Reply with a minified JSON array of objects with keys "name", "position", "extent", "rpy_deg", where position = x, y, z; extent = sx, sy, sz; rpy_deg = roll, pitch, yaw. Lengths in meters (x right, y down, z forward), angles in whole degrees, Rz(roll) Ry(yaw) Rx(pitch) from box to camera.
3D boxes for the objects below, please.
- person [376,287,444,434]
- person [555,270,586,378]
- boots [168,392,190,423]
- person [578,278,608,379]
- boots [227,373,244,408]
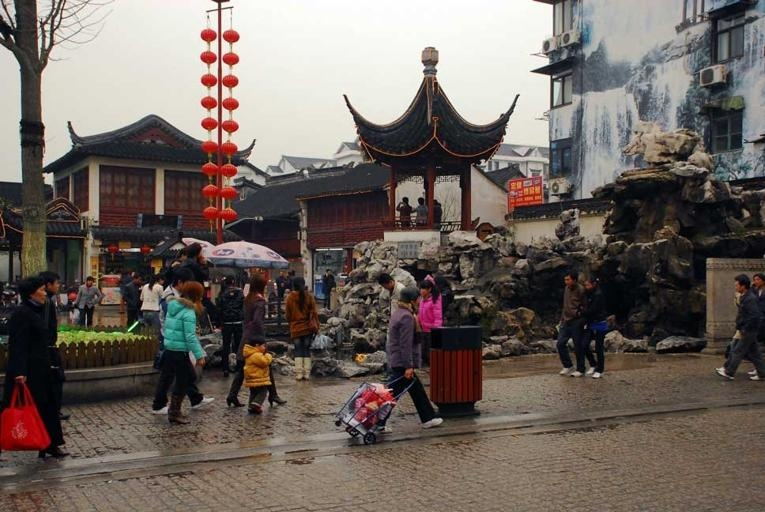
[{"name":"person","position":[0.600,2.355,23.060],"extent":[1.513,3.038,1.022],"rpy_deg":[0,0,-16]},{"name":"person","position":[5.091,1.852,26.658],"extent":[0.890,2.517,0.872],"rpy_deg":[0,0,-32]},{"name":"boots","position":[-4.620,3.459,22.770],"extent":[0.442,0.574,0.407],"rpy_deg":[-2,-1,-13]},{"name":"person","position":[5.497,1.903,26.322],"extent":[0.641,2.539,0.711],"rpy_deg":[1,-2,10]},{"name":"boots","position":[-3.481,3.164,23.818],"extent":[0.413,0.722,0.400],"rpy_deg":[-2,-1,-11]}]
